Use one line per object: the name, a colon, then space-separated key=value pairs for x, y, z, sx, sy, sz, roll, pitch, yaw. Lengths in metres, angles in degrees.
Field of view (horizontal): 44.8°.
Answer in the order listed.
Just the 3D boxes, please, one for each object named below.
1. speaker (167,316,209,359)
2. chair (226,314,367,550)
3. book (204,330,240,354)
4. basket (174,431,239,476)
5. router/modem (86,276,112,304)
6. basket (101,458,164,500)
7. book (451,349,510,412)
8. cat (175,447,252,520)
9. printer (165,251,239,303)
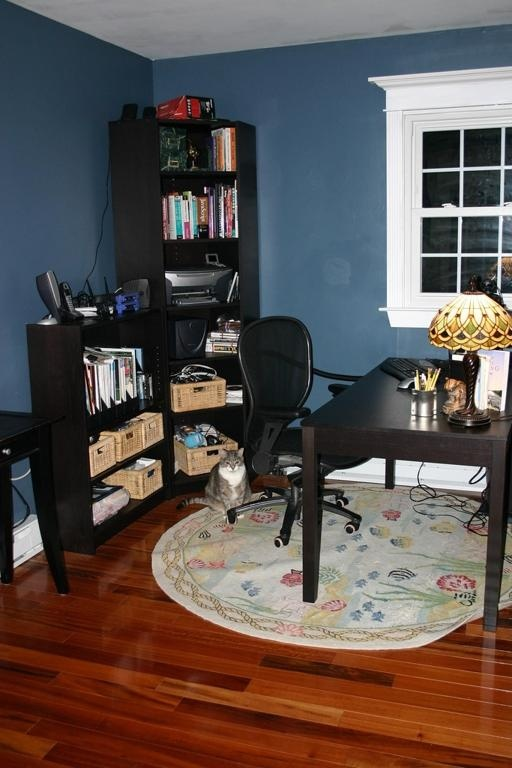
speaker: x=-0.369 y=-0.276 z=3.525 sx=0.224 sy=0.215 sz=0.220 roll=3 pitch=14 yaw=18
chair: x=0.226 y=0.197 z=3.036 sx=0.630 sy=1.013 sz=0.659 roll=8 pitch=13 yaw=34
book: x=-0.204 y=-0.246 z=3.716 sx=0.158 sy=0.081 sz=0.167 roll=4 pitch=18 yaw=10
basket: x=-0.317 y=0.436 z=3.731 sx=0.274 sy=0.159 sz=0.267 roll=-8 pitch=15 yaw=-37
router/modem: x=-0.856 y=-0.513 z=3.358 sx=0.138 sy=0.140 sz=0.545 roll=-4 pitch=8 yaw=-14
basket: x=-0.683 y=0.485 z=3.401 sx=0.226 sy=0.140 sz=0.223 roll=10 pitch=19 yaw=25
book: x=0.814 y=-0.024 z=2.292 sx=0.193 sy=0.344 sz=0.283 roll=2 pitch=9 yaw=17
cat: x=-0.178 y=0.503 z=3.282 sx=0.297 sy=0.329 sz=0.431 roll=-4 pitch=3 yaw=-40
printer: x=-0.369 y=-0.610 z=3.580 sx=0.434 sy=0.241 sz=0.360 roll=-3 pitch=18 yaw=-12
